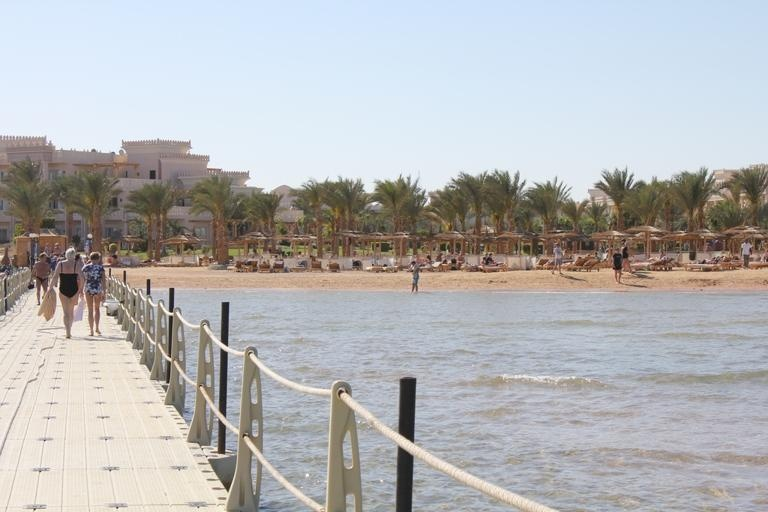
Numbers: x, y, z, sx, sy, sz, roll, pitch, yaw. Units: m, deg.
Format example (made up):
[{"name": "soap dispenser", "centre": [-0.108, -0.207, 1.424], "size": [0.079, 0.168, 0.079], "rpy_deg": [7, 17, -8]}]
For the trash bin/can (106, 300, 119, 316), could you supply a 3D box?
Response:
[{"name": "trash bin/can", "centre": [-8.376, 1.631, 42.215], "size": [0.330, 0.462, 0.451], "rpy_deg": [0, 1, -19]}]

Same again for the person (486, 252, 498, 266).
[{"name": "person", "centre": [6.021, 0.230, 75.108], "size": [0.550, 0.381, 1.215], "rpy_deg": [8, -38, 15]}]

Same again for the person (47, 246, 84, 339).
[{"name": "person", "centre": [-8.650, 1.026, 37.397], "size": [0.832, 2.487, 1.318], "rpy_deg": [1, 1, -12]}]
